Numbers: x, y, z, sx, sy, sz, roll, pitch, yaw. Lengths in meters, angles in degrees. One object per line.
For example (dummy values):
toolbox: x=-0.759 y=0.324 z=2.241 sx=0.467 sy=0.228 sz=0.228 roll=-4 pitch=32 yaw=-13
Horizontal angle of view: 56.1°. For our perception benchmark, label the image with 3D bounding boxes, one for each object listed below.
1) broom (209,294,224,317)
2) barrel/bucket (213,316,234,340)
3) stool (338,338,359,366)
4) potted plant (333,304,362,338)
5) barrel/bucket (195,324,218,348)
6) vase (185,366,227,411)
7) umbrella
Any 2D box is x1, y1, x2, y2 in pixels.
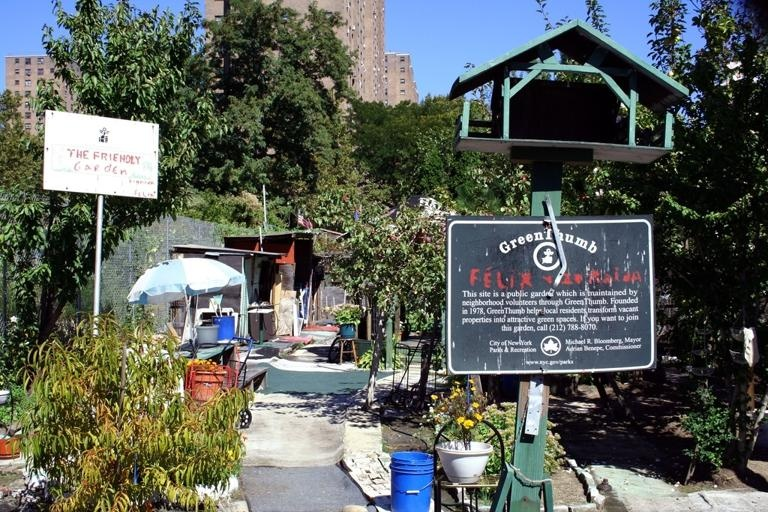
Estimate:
broom: x=-5.067 y=1.567 z=21.774 sx=0.256 sy=0.814 sz=0.423 roll=-1 pitch=3 yaw=-2
barrel/bucket: x=-3.770 y=1.676 z=16.869 sx=0.511 sy=0.643 sz=0.549 roll=-1 pitch=1 yaw=0
stool: x=-1.059 y=2.920 z=21.843 sx=0.629 sy=0.886 sz=0.678 roll=1 pitch=-15 yaw=-9
potted plant: x=-1.087 y=2.011 z=21.982 sx=0.924 sy=1.083 sz=1.025 roll=-1 pitch=-11 yaw=12
barrel/bucket: x=-3.929 y=1.772 z=15.937 sx=0.415 sy=0.438 sz=0.435 roll=0 pitch=0 yaw=0
vase: x=-3.317 y=2.382 z=13.353 sx=0.730 sy=0.659 sz=0.666 roll=3 pitch=-4 yaw=-14
umbrella: x=-4.255 y=0.506 z=15.233 sx=2.213 sy=1.001 sz=1.161 roll=4 pitch=-5 yaw=-22
